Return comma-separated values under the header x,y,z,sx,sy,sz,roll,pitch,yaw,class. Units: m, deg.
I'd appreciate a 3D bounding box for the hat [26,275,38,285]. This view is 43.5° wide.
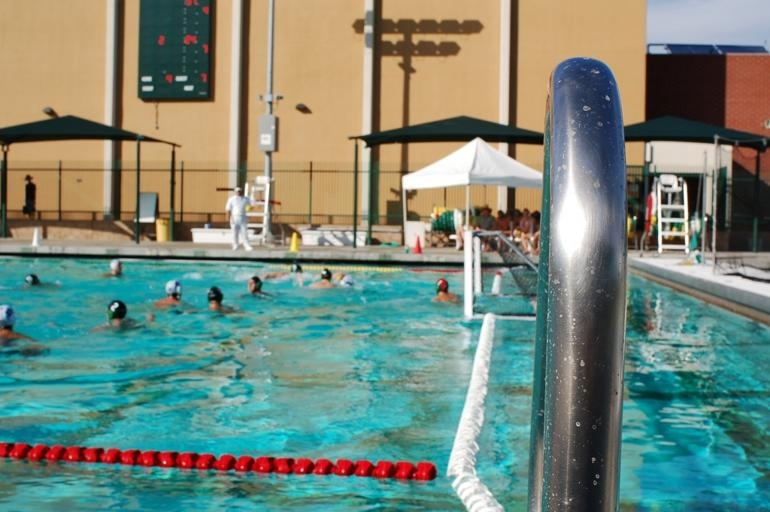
x,y,z,sx,sy,sz,roll,pitch,yaw,class
-6.840,0.470,18.852,0.180,0.215,0.246,4,9,-18,hat

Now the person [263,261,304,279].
x,y,z,sx,sy,sz,roll,pitch,yaw,class
-2.118,0.312,20.308,0.809,0.232,1.113,-1,4,-6,person

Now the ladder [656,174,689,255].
x,y,z,sx,sy,sz,roll,pitch,yaw,class
6.807,-0.955,23.010,0.832,1.896,1.797,-1,9,20,ladder

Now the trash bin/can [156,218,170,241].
x,y,z,sx,sy,sz,roll,pitch,yaw,class
-6.464,-0.758,28.213,0.526,0.828,0.541,-2,3,-22,trash bin/can

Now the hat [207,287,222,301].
x,y,z,sx,sy,sz,roll,pitch,yaw,class
-2.975,0.672,17.061,0.193,0.281,0.262,2,6,-9,hat

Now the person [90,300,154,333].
x,y,z,sx,sy,sz,roll,pitch,yaw,class
-4.421,0.989,15.957,0.372,0.514,1.269,26,-8,-30,person

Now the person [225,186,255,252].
x,y,z,sx,sy,sz,roll,pitch,yaw,class
-3.600,-0.971,24.167,0.580,1.513,2.521,-1,4,-8,person

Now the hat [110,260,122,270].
x,y,z,sx,sy,sz,roll,pitch,yaw,class
-5.629,0.183,20.340,0.164,0.204,0.246,7,-2,-3,hat

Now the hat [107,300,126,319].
x,y,z,sx,sy,sz,roll,pitch,yaw,class
-4.374,0.880,15.953,0.226,0.324,0.297,8,3,-42,hat

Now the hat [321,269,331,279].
x,y,z,sx,sy,sz,roll,pitch,yaw,class
-1.158,0.339,19.020,0.145,0.230,0.218,0,-6,7,hat

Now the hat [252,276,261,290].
x,y,z,sx,sy,sz,roll,pitch,yaw,class
-2.357,0.533,18.161,0.162,0.230,0.225,-7,-32,-17,hat
